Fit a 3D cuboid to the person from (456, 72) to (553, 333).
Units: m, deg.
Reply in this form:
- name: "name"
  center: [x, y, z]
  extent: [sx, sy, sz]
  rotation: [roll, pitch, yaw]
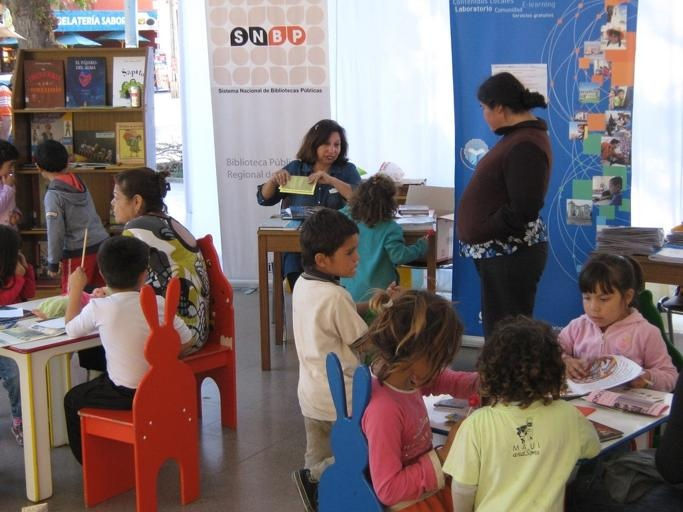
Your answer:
- name: "person"
  center: [0.872, -0.249, 3.597]
  extent: [0.498, 1.443, 0.332]
  rotation: [3, 13, 17]

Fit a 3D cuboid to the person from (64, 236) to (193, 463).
- name: "person"
  center: [-1.062, 0.486, 3.318]
  extent: [0.604, 1.272, 0.536]
  rotation: [9, 17, 36]

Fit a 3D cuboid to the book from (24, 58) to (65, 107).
- name: "book"
  center: [-2.661, -1.536, 5.888]
  extent: [0.378, 0.509, 0.064]
  rotation: [0, -3, -3]

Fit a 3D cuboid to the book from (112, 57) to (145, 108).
- name: "book"
  center: [-1.887, -1.555, 5.877]
  extent: [0.305, 0.440, 0.242]
  rotation: [-3, 13, -11]

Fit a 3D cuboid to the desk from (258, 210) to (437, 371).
- name: "desk"
  center: [0.009, 0.063, 4.821]
  extent: [1.353, 1.399, 1.006]
  rotation: [-2, 3, 0]

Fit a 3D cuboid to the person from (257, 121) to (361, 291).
- name: "person"
  center: [-0.220, -0.185, 4.834]
  extent: [0.729, 1.524, 0.718]
  rotation: [-1, 6, -3]

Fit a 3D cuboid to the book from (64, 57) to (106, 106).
- name: "book"
  center: [-2.273, -1.550, 5.872]
  extent: [0.396, 0.555, 0.060]
  rotation: [-1, -6, -2]
